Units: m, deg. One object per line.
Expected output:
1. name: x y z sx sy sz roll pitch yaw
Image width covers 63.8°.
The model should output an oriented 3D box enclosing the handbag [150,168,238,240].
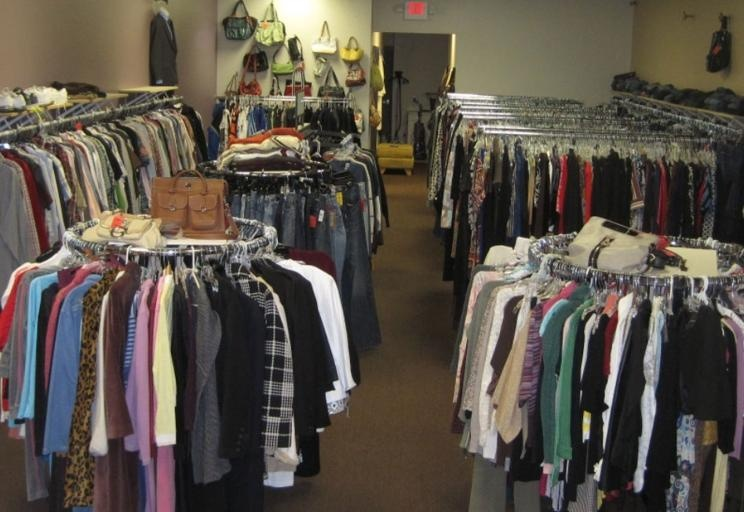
1. handbag: -0.970 -0.272 3.267 0.428 0.375 0.251 -1 0 -9

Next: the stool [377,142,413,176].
1. stool: 0.459 -1.918 11.705 0.517 0.481 0.577 1 10 4

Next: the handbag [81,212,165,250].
1. handbag: -1.132 -0.121 2.698 0.383 0.123 0.314 1 15 -4

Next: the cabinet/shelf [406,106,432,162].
1. cabinet/shelf: 1.005 -2.367 11.909 0.395 1.216 0.452 7 -2 -21

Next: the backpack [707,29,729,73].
1. backpack: 4.737 -2.844 8.188 0.237 0.533 0.424 1 32 21

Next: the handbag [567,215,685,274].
1. handbag: 1.144 -0.031 2.728 0.348 0.121 0.286 18 30 22
